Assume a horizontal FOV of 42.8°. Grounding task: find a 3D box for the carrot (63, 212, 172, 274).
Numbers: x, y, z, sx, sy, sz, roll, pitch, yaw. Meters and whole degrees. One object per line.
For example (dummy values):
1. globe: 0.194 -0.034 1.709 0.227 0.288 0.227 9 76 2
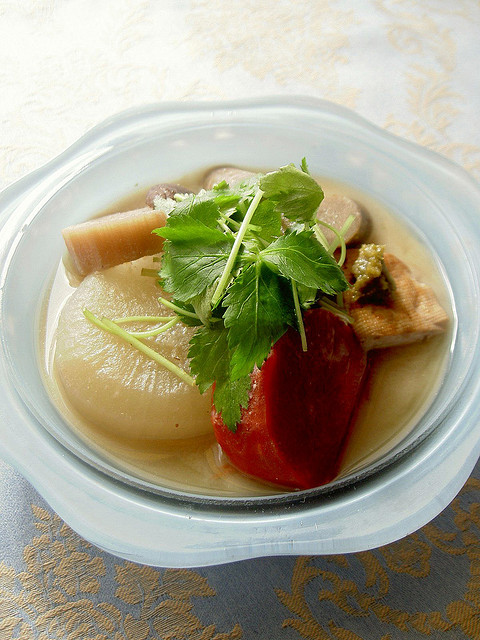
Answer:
1. carrot: -0.241 -0.152 1.242 0.243 0.106 0.107 -13 63 -5
